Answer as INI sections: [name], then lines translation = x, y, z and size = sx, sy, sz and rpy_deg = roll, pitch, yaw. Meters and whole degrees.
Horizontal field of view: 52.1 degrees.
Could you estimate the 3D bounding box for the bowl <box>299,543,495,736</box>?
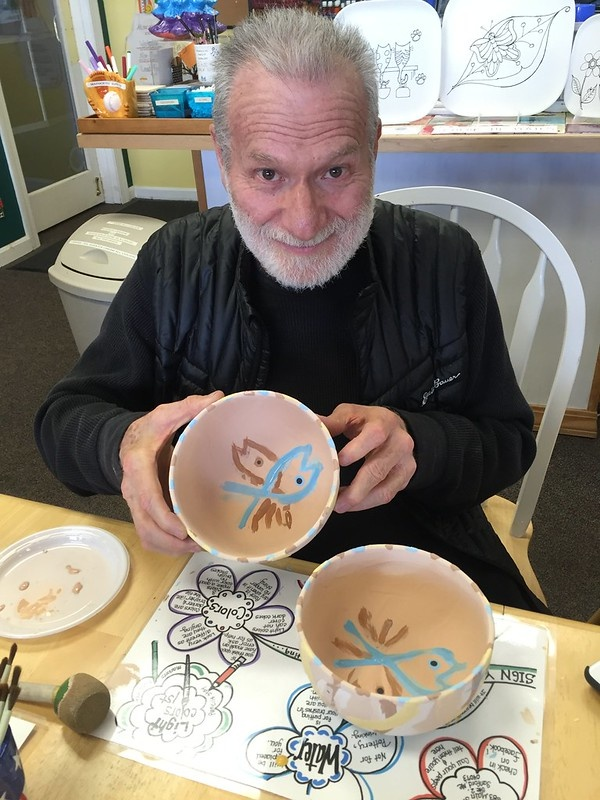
[bowl]
translation = 0.101, 0.259, 0.641
size = 0.175, 0.099, 0.171
rpy_deg = 0, 44, 0
